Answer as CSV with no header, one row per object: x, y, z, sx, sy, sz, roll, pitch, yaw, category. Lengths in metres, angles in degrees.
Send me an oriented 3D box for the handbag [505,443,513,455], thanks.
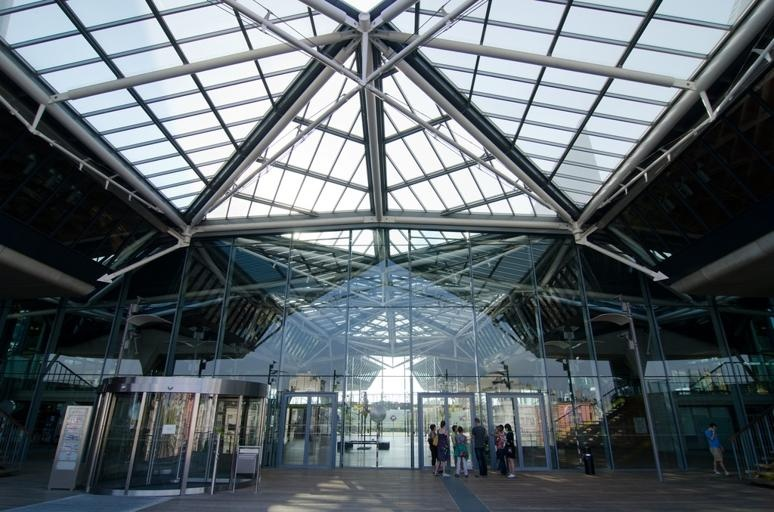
5.088,8.152,18.897,0.249,0.505,0.367,0,-25,-1,handbag
